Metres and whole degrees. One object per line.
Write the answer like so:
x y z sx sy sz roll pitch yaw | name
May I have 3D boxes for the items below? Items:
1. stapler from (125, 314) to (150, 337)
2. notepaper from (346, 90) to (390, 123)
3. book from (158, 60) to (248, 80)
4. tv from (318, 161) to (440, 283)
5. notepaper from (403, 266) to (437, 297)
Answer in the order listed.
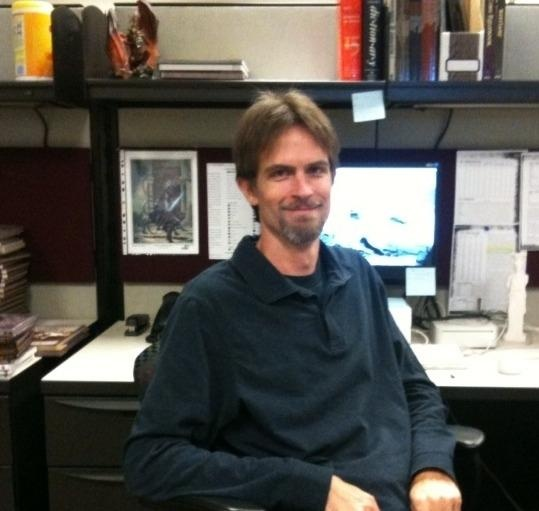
-0.403 0.215 2.068 0.049 0.032 0.085 -1 6 -9 | stapler
0.266 -0.402 1.840 0.096 0.080 0.075 4 14 6 | notepaper
-0.184 -0.497 1.845 0.210 0.053 0.160 -1 15 -7 | book
0.319 -0.105 1.946 0.302 0.308 0.058 5 11 4 | tv
0.451 0.077 2.051 0.089 0.086 0.009 -2 3 1 | notepaper
